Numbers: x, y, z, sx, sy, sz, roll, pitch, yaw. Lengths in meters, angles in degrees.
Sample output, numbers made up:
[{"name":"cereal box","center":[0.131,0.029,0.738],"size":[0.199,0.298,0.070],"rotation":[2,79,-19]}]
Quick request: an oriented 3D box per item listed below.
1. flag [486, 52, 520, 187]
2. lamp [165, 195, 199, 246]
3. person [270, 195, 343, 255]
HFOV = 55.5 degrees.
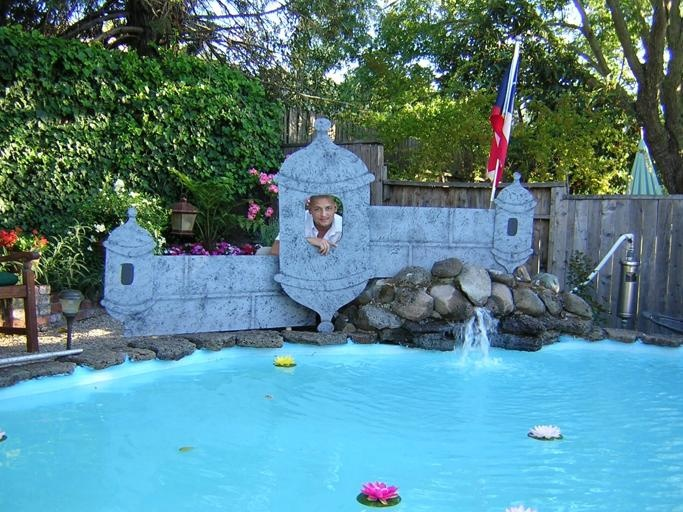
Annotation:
[{"name":"flag","center":[2.592,-2.284,10.443],"size":[0.450,2.200,0.868],"rotation":[1,0,13]},{"name":"lamp","center":[-2.723,-0.699,11.150],"size":[0.567,0.714,0.532],"rotation":[4,4,5]},{"name":"person","center":[-0.457,-0.429,9.119],"size":[0.658,1.051,0.231],"rotation":[1,5,-3]}]
